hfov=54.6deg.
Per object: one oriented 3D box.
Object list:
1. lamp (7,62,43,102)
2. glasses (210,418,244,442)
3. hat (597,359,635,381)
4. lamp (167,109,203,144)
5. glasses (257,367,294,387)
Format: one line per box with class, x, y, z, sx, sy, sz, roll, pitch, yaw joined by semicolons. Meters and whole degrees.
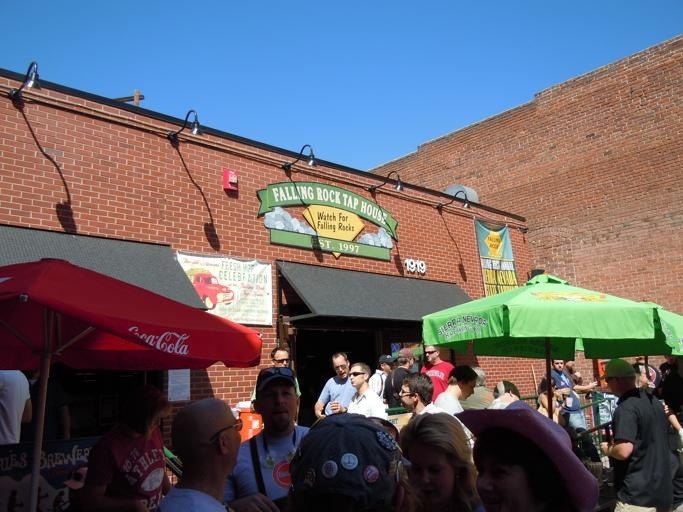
lamp;-4.702;-2.581;9.775;0.758;0.421;0.259;-1;5;39
glasses;-0.868;1.336;5.066;0.150;0.180;0.472;-4;-17;6
hat;3.248;1.337;7.840;0.236;0.177;0.348;-1;0;-25
lamp;-2.741;-2.290;11.589;0.639;0.519;0.220;4;13;19
glasses;-0.621;1.075;6.020;0.216;0.212;0.066;5;9;-11
